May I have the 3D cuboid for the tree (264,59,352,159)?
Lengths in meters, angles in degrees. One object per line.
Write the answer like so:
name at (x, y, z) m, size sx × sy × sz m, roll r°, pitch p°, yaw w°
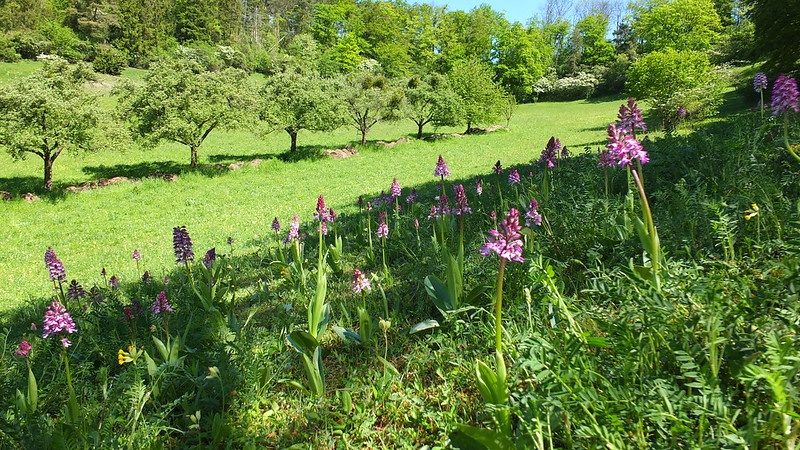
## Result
tree at (-8.419, -10.037, 54.253) m, size 7.296 × 7.166 × 7.071 m, roll -5°, pitch 31°, yaw -14°
